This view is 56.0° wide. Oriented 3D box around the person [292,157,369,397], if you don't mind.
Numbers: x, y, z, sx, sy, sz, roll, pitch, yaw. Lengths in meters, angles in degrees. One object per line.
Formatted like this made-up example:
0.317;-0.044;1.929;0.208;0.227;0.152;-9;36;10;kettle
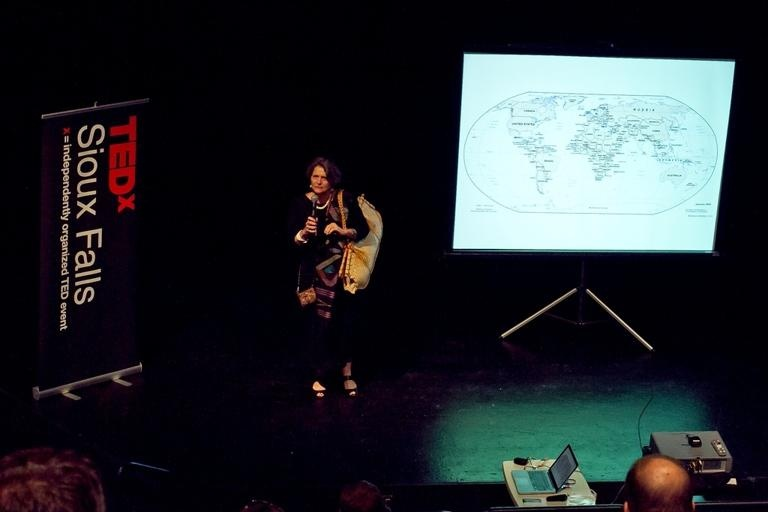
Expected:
-0.506;0.251;6.835;0.708;2.112;1.158;-3;-14;-12;person

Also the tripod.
2.115;0.289;8.008;1.420;0.662;1.083;3;12;-14;tripod

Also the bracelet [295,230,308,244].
-0.766;-0.176;6.614;0.110;0.118;0.100;-2;-14;-15;bracelet

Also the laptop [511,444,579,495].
1.166;1.585;5.270;0.412;0.242;0.413;7;15;-3;laptop

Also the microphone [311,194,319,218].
-0.632;-0.470;6.644;0.068;0.205;0.065;-2;-14;-16;microphone

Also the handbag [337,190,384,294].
-0.201;-0.109;6.767;0.218;0.827;0.553;-3;9;-36;handbag
